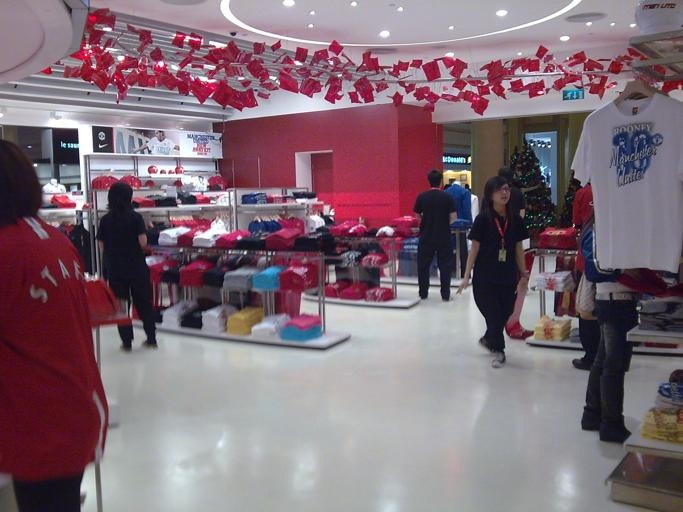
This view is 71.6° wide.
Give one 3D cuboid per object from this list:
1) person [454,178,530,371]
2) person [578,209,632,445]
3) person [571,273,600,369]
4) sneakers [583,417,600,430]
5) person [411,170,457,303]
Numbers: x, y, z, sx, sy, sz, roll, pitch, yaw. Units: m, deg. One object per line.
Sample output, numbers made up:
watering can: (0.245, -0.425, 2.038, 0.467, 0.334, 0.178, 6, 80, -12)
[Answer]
person: (1.511, 0.156, 4.727, 0.790, 1.853, 0.371, -5, 7, -30)
person: (1.787, 0.499, 3.178, 0.348, 1.541, 0.548, 2, 7, 29)
person: (2.106, 0.588, 4.062, 0.235, 0.297, 0.958, 12, -29, 27)
sneakers: (1.808, 1.188, 3.418, 0.111, 0.083, 0.072, -2, 5, 20)
person: (1.543, -0.333, 7.714, 0.597, 2.073, 0.544, 3, 7, 37)
